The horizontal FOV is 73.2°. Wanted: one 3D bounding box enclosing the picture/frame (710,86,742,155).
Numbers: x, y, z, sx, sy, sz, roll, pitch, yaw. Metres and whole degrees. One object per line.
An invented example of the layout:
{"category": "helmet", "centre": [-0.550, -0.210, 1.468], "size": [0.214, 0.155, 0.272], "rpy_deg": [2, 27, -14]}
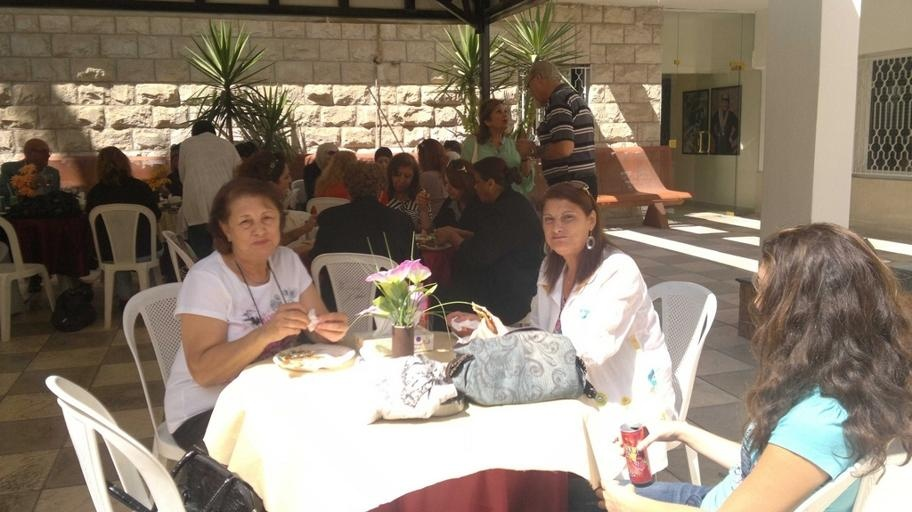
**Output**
{"category": "picture/frame", "centre": [5.427, -2.753, 12.414], "size": [0.129, 1.333, 0.652], "rpy_deg": [-12, 15, -28]}

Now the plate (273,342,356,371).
{"category": "plate", "centre": [-0.725, 0.517, 3.171], "size": [0.410, 0.071, 0.266], "rpy_deg": [-6, 13, -10]}

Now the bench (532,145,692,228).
{"category": "bench", "centre": [2.982, -1.185, 10.796], "size": [2.008, 1.236, 0.870], "rpy_deg": [-4, 19, -19]}

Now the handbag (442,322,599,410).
{"category": "handbag", "centre": [0.283, 0.491, 2.812], "size": [0.506, 0.170, 0.350], "rpy_deg": [-3, 5, -5]}

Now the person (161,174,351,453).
{"category": "person", "centre": [-1.134, 0.315, 3.281], "size": [0.915, 1.415, 0.719], "rpy_deg": [-11, 15, -26]}

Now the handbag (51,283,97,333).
{"category": "handbag", "centre": [-3.880, 0.532, 6.263], "size": [0.339, 0.446, 0.458], "rpy_deg": [15, 11, 6]}

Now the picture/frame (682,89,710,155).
{"category": "picture/frame", "centre": [4.993, -2.834, 12.943], "size": [0.252, 1.338, 0.704], "rpy_deg": [-12, 15, -28]}

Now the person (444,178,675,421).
{"category": "person", "centre": [0.905, 0.231, 4.241], "size": [1.439, 1.839, 1.182], "rpy_deg": [-4, -1, -24]}

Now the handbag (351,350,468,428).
{"category": "handbag", "centre": [-0.202, 0.597, 2.747], "size": [0.371, 0.080, 0.311], "rpy_deg": [-1, 31, -9]}
